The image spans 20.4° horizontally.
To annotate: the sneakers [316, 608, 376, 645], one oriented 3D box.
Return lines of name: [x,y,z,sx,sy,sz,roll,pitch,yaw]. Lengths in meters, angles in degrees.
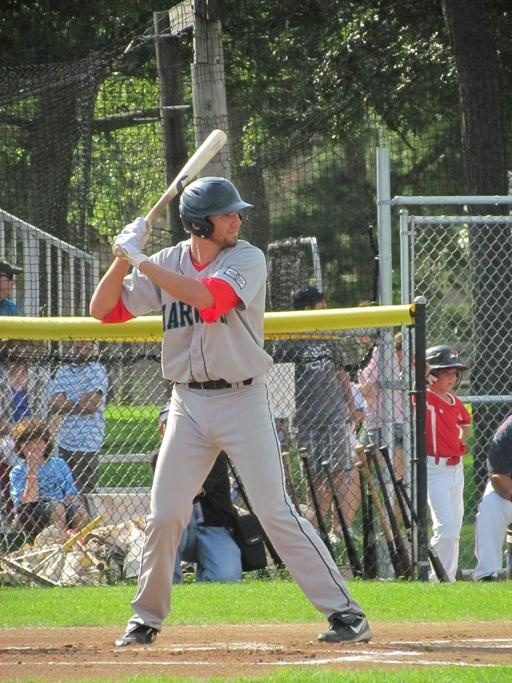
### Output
sneakers: [0.430,1.356,6.717,0.252,0.115,0.110,-2,-10,6]

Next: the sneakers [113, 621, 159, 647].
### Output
sneakers: [-0.563,1.401,6.829,0.232,0.117,0.086,-1,-9,-11]

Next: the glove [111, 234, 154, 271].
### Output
glove: [-0.598,-0.425,6.818,0.125,0.181,0.076,-44,-6,-43]

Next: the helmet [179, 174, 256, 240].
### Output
helmet: [-0.194,-0.651,6.803,0.327,0.265,0.255,-1,4,28]

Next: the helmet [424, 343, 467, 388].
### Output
helmet: [1.255,0.156,9.485,0.212,0.236,0.276,13,0,-36]

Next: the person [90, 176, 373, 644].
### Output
person: [-0.183,0.319,6.872,1.206,2.219,0.620,-1,4,-7]

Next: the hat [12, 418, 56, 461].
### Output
hat: [-1.467,0.641,9.247,0.216,0.312,0.112,-3,12,-8]
